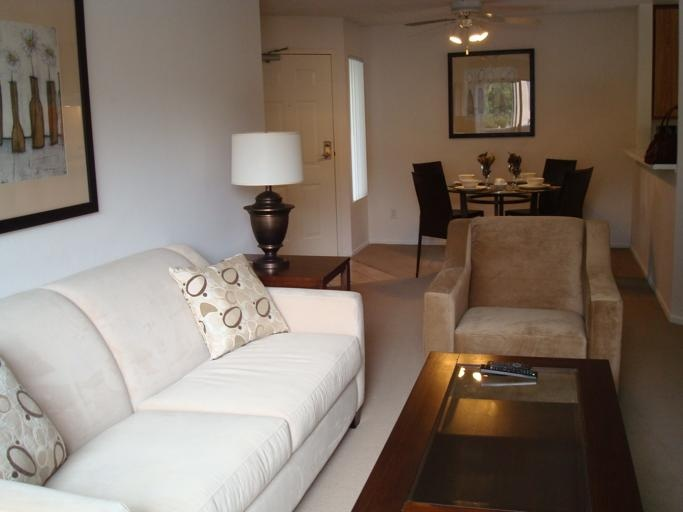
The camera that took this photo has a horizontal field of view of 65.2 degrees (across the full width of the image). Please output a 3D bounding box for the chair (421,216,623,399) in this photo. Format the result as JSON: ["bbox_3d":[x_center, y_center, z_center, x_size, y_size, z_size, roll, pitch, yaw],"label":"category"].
[{"bbox_3d":[0.956,0.398,3.270,1.128,1.325,0.962,2,6,17],"label":"chair"}]

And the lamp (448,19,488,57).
[{"bbox_3d":[1.398,-2.419,5.779,0.581,0.340,0.614,4,27,18],"label":"lamp"}]

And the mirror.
[{"bbox_3d":[1.851,-2.029,6.458,0.978,1.033,0.077,0,11,11],"label":"mirror"}]

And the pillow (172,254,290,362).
[{"bbox_3d":[-0.535,0.249,2.732,0.134,0.514,0.469,-38,-28,31],"label":"pillow"}]
